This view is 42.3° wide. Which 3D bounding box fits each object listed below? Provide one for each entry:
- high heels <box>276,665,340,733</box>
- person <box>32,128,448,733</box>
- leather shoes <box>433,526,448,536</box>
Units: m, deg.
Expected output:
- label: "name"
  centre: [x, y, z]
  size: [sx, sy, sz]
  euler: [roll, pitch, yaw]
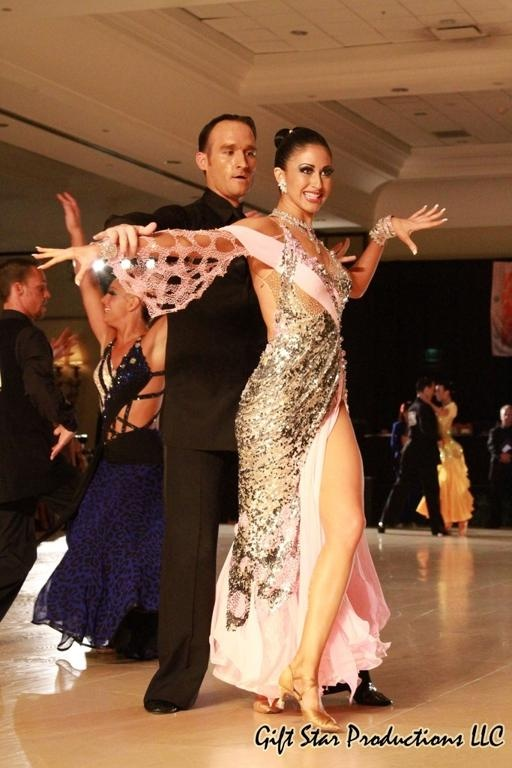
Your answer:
- label: "high heels"
  centre: [0.121, 0.719, 1.519]
  size: [0.066, 0.101, 0.146]
  euler: [1, 0, -37]
- label: "person"
  centre: [0.019, 0.083, 1.718]
  size: [0.528, 1.166, 0.512]
  euler: [0, 0, 13]
- label: "leather shoes"
  centre: [2.416, 1.934, 8.684]
  size: [0.086, 0.100, 0.259]
  euler: [2, 3, 44]
